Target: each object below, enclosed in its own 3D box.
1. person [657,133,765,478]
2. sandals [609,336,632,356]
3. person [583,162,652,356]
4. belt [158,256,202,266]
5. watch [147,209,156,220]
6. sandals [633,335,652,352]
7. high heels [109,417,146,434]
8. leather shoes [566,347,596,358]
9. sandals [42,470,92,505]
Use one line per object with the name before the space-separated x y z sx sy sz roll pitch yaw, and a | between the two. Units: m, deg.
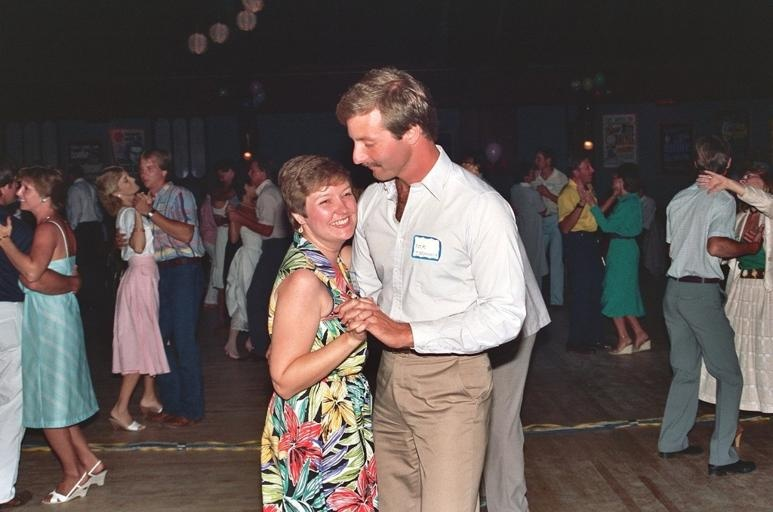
person | 2.941 0.469 5.705 0.854 2.672 0.835 0 2 -19
sandals | 3.073 1.181 8.275 0.337 0.236 0.152 1 3 3
person | 3.034 0.050 8.236 0.823 2.423 0.565 9 18 33
belt | -2.065 0.059 6.338 0.407 0.105 0.111 -5 14 -17
watch | -2.269 -0.405 6.167 0.090 0.062 0.096 -39 3 22
sandals | 3.353 1.161 8.367 0.140 0.107 0.272 -4 4 -4
high heels | -2.577 1.686 6.332 0.300 0.097 0.156 0 -1 -11
leather shoes | 2.583 1.266 8.474 0.254 0.129 0.389 10 4 31
sandals | -2.642 1.922 5.271 0.338 0.147 0.182 1 1 -16
